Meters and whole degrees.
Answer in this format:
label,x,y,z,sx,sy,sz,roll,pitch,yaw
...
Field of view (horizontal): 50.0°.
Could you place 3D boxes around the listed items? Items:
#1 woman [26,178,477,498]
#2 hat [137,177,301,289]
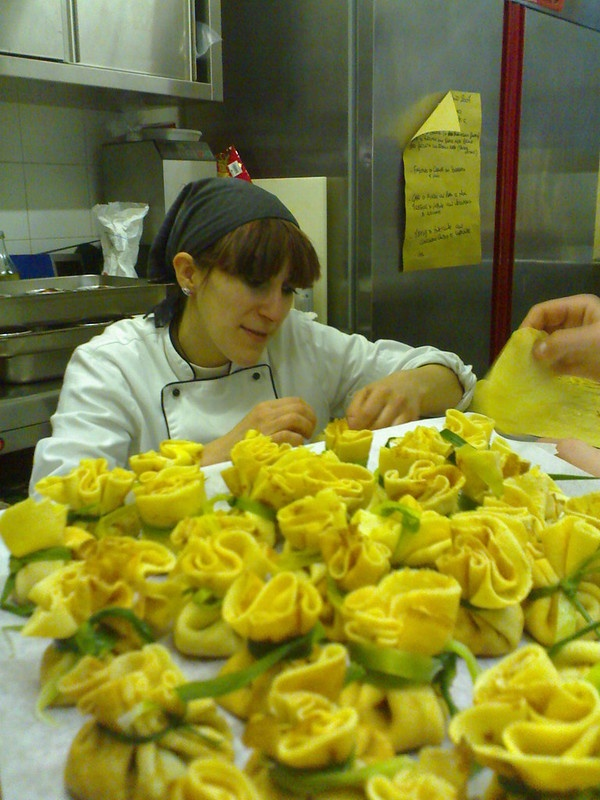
label,x,y,z,sx,sy,sz,roll,pitch,yaw
woman,-0.080,-0.150,1.257,0.707,0.760,0.423,-15,23,-26
hat,-0.137,-0.297,1.225,0.237,0.170,0.181,-13,10,29
